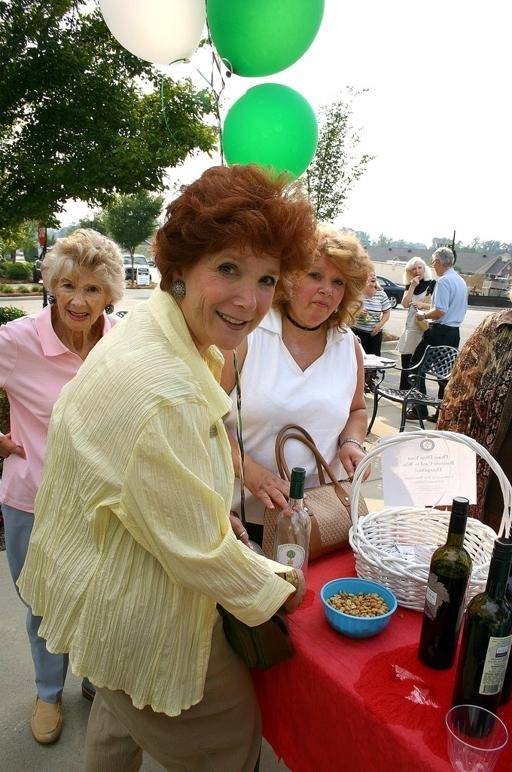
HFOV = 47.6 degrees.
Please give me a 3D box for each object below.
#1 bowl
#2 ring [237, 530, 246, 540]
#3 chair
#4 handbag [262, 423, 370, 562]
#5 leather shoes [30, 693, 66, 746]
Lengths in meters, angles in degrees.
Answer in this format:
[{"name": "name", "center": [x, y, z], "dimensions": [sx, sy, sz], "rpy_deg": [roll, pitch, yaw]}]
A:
[{"name": "bowl", "center": [0.229, 0.486, 1.269], "dimensions": [0.140, 0.054, 0.143], "rpy_deg": [5, 17, -2]}, {"name": "ring", "center": [-0.032, 0.344, 1.343], "dimensions": [0.016, 0.019, 0.017], "rpy_deg": [-2, 54, 3]}, {"name": "chair", "center": [1.510, 0.049, 5.632], "dimensions": [0.855, 0.892, 0.860], "rpy_deg": [9, 15, 35]}, {"name": "handbag", "center": [0.156, 0.296, 1.601], "dimensions": [0.328, 0.399, 0.150], "rpy_deg": [10, -28, -38]}, {"name": "leather shoes", "center": [-0.767, 1.215, 2.132], "dimensions": [0.074, 0.069, 0.178], "rpy_deg": [9, 20, -21]}]
